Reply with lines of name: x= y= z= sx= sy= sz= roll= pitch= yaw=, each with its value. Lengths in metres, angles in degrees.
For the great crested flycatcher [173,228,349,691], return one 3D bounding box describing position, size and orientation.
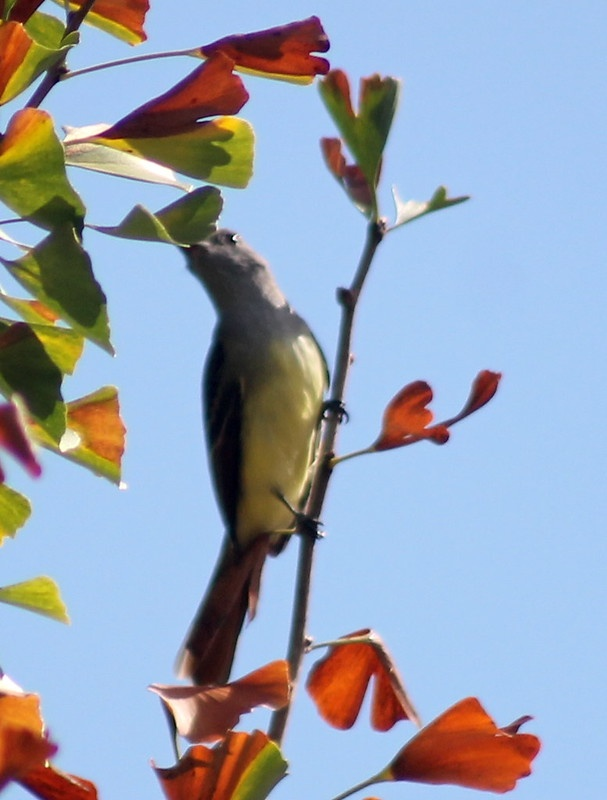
great crested flycatcher: x=-0.025 y=0.069 z=1.321 sx=0.095 sy=0.364 sz=0.187 roll=2 pitch=12 yaw=-21
